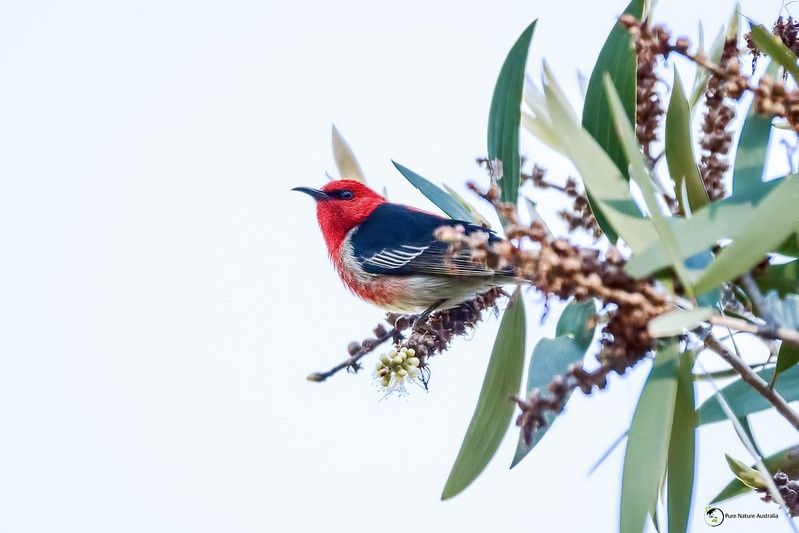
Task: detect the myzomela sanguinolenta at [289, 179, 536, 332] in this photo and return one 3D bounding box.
[{"bbox_3d":[0.069,-0.054,2.886,0.669,0.388,0.209,-5,-7,11],"label":"myzomela sanguinolenta"}]
